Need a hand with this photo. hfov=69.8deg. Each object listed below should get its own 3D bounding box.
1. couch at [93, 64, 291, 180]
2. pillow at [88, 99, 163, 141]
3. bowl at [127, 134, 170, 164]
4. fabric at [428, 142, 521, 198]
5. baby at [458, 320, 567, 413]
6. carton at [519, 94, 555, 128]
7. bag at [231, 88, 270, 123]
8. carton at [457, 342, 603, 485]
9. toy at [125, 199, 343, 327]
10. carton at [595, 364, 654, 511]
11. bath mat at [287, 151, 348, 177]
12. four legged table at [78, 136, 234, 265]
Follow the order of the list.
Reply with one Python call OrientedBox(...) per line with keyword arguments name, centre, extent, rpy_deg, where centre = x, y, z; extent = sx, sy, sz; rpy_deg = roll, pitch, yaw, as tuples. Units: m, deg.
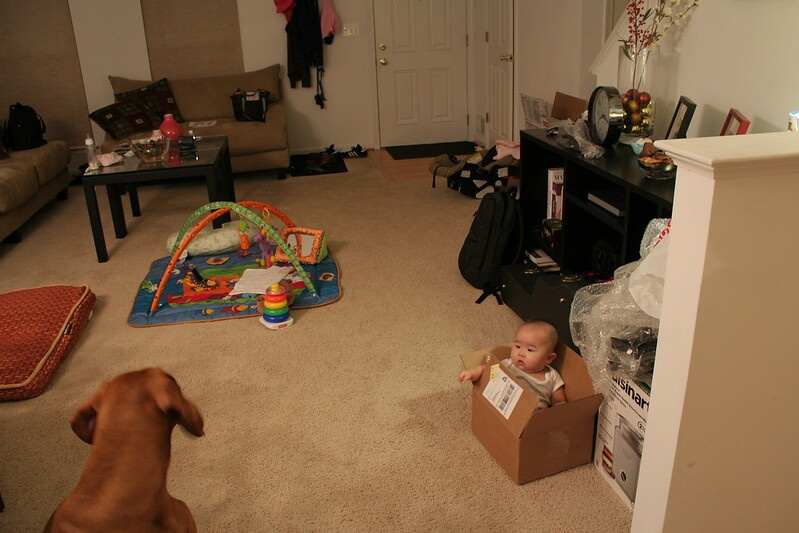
OrientedBox(name="couch", centre=(-1.995, -1.376, 5.653), extent=(1.713, 1.019, 0.952), rpy_deg=(-8, 28, -12))
OrientedBox(name="pillow", centre=(-2.610, -1.392, 5.429), extent=(0.513, 0.164, 0.547), rpy_deg=(41, 53, 20))
OrientedBox(name="bowl", centre=(-1.703, -0.839, 3.942), extent=(0.219, 0.146, 0.222), rpy_deg=(0, 20, 0))
OrientedBox(name="fabric", centre=(0.635, -0.785, 4.800), extent=(0.695, 0.309, 0.596), rpy_deg=(-10, 28, -8))
OrientedBox(name="baby", centre=(0.452, 0.446, 2.277), extent=(0.406, 0.483, 0.254), rpy_deg=(5, 9, 14))
OrientedBox(name="carton", centre=(1.166, -1.329, 4.853), extent=(0.087, 0.224, 0.442), rpy_deg=(-23, 32, -9))
OrientedBox(name="bag", centre=(-1.432, -1.589, 5.700), extent=(0.425, 0.403, 0.289), rpy_deg=(-1, 25, -7))
OrientedBox(name="carton", centre=(0.500, 0.526, 2.204), extent=(0.386, 0.384, 0.415), rpy_deg=(-11, 29, -18))
OrientedBox(name="toy", centre=(-0.952, 0.087, 3.412), extent=(0.855, 0.358, 0.906), rpy_deg=(-1, 31, -2))
OrientedBox(name="carton", centre=(0.789, 0.595, 2.005), extent=(0.089, 0.441, 0.256), rpy_deg=(-7, 28, -10))
OrientedBox(name="bath mat", centre=(-0.840, -1.046, 5.936), extent=(0.437, 0.050, 0.488), rpy_deg=(-2, 26, -7))
OrientedBox(name="four legged table", centre=(-1.750, -0.518, 4.260), extent=(1.235, 0.693, 1.260), rpy_deg=(3, 21, 24))
